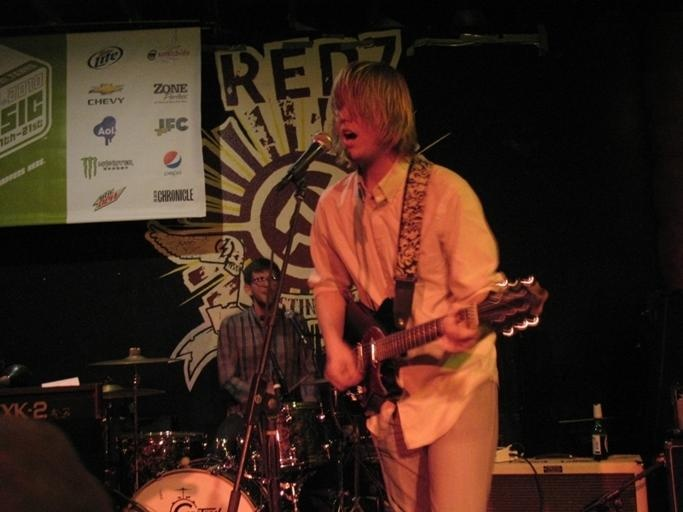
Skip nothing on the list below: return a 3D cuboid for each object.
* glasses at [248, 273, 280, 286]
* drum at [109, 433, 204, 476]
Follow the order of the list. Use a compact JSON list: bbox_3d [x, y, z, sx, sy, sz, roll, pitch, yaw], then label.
[{"bbox_3d":[-0.614,0.217,5.550,0.206,0.074,0.215,4,-32,-15],"label":"glasses"},{"bbox_3d":[-1.291,1.382,5.063,0.404,0.287,0.403,1,-13,0],"label":"drum"}]
